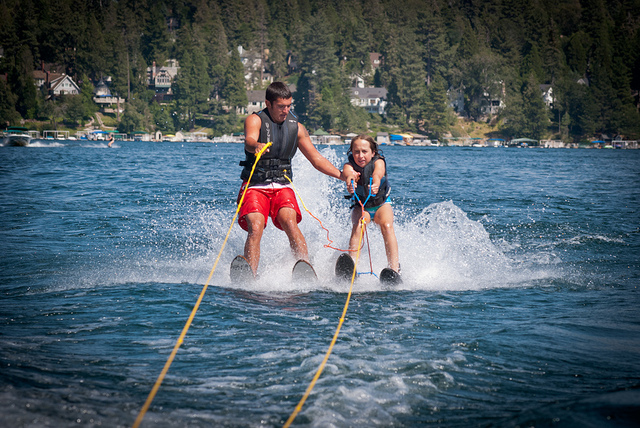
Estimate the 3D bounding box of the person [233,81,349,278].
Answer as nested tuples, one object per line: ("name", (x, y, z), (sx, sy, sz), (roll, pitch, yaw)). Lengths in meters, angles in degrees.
("person", (-0.712, -0.572, 13.263), (1.511, 3.200, 1.084), (-1, 11, -9))
